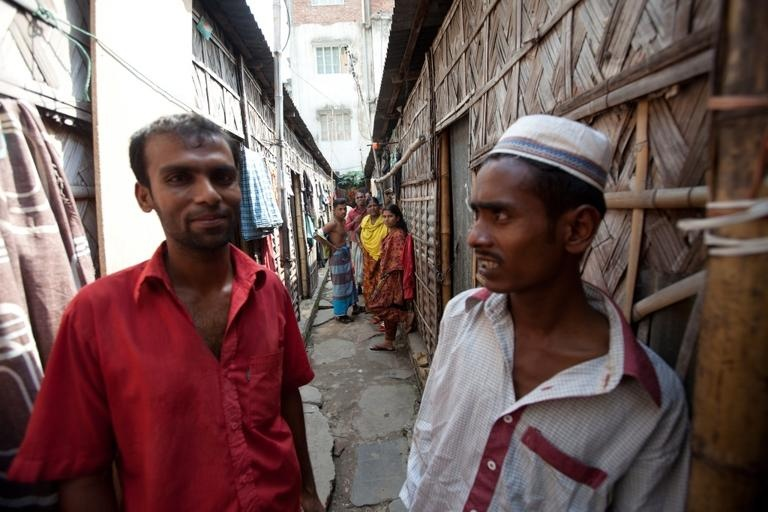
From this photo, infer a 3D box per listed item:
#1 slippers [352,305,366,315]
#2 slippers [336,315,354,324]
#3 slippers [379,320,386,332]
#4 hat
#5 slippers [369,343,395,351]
[{"bbox_3d":[-0.444,0.940,8.647,0.110,0.143,0.317,3,13,24],"label":"slippers"},{"bbox_3d":[-0.644,1.018,8.031,0.227,0.113,0.121,-2,11,0],"label":"slippers"},{"bbox_3d":[-0.030,1.045,7.329,0.074,0.097,0.230,0,-5,2],"label":"slippers"},{"bbox_3d":[0.794,-0.478,2.276,0.512,0.275,0.534,21,10,10],"label":"hat"},{"bbox_3d":[-0.020,1.200,6.566,0.301,0.113,0.125,5,-2,1],"label":"slippers"}]
